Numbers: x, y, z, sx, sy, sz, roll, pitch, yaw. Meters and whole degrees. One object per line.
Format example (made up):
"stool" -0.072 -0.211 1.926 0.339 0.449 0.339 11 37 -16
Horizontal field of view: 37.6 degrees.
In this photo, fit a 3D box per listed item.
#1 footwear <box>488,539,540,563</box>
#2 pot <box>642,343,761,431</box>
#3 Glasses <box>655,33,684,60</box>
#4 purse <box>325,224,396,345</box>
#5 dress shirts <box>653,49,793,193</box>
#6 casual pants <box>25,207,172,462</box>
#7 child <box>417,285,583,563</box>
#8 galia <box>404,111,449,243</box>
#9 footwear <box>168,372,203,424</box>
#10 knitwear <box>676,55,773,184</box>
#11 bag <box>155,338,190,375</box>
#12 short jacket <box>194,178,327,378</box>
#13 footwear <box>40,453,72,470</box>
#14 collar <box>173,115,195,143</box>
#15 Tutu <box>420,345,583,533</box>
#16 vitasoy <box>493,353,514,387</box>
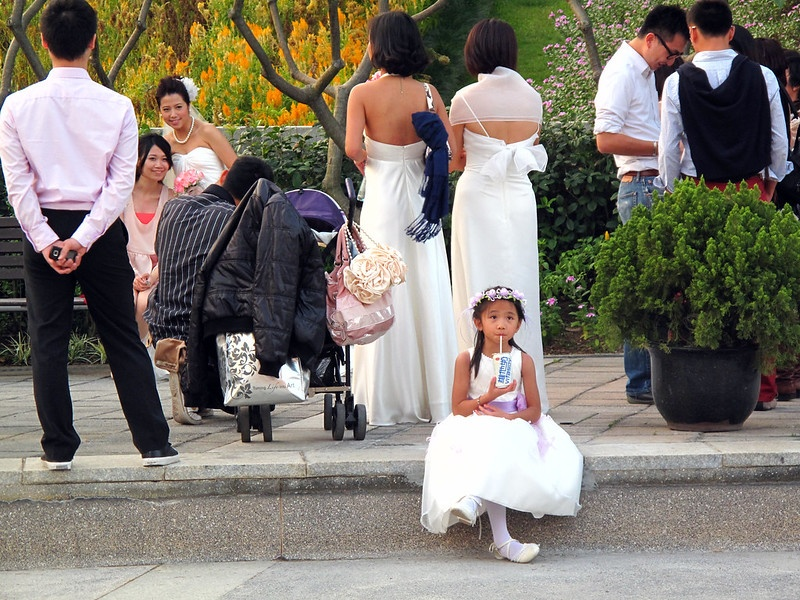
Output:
"footwear" 0.608 1.347 6.306 0.186 0.074 0.128 0 3 26
"pot" 1.834 0.542 7.205 0.545 0.382 0.575 0 -3 0
"Glasses" 1.838 -1.762 8.085 0.043 0.158 0.161 -29 -16 35
"purse" -0.280 -0.081 7.333 0.343 0.704 0.553 7 16 40
"dress shirts" 2.120 -1.178 7.909 0.923 0.914 0.471 -8 14 -3
"casual pants" -1.748 0.091 6.753 0.745 1.629 0.376 -3 20 -9
"child" 0.554 0.660 6.547 0.949 1.398 1.433 1 3 5
"galia" 0.193 -0.820 7.922 0.314 0.882 0.283 -5 5 -17
"footwear" -1.515 0.721 8.079 0.173 0.358 0.508 -2 2 -23
"knitwear" 2.100 -1.186 7.668 0.652 0.958 0.504 -9 19 16
"bag" -1.474 0.367 7.636 0.211 0.204 0.106 14 14 23
"short jacket" -0.834 -0.123 7.420 0.780 1.348 1.317 3 -8 -16
"footwear" -1.969 0.938 6.672 0.222 0.076 0.088 -1 6 25
"collar" -1.785 -1.416 9.775 0.167 0.209 0.052 2 -2 14
"Tutu" 0.557 0.977 6.417 0.923 0.651 0.523 -3 5 -1
"vitasoy" 0.568 0.399 6.601 0.154 0.214 0.154 2 -15 -2
